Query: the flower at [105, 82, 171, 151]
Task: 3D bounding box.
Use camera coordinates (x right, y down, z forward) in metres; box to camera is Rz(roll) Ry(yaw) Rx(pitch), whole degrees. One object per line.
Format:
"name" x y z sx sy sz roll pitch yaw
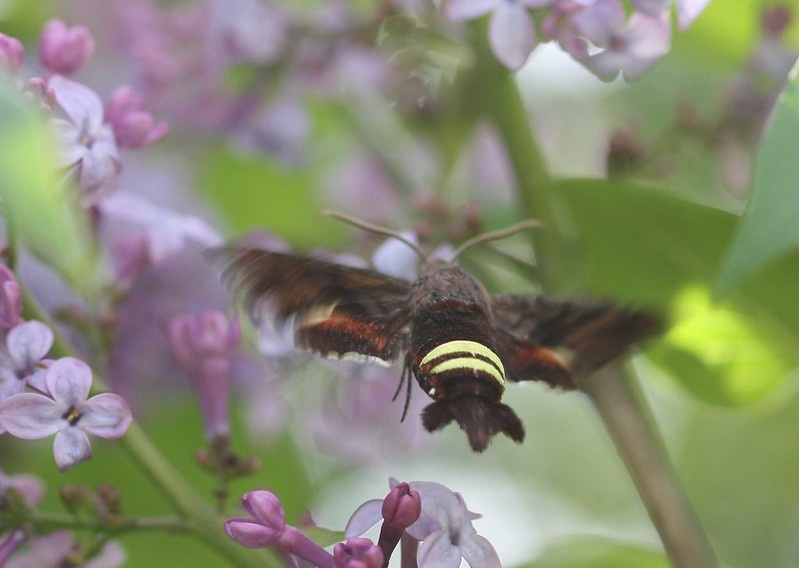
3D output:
"flower" -0.205 -0.132 0.800 0.045 0.048 0.029 20 9 -8

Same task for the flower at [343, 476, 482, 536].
"flower" 0.000 0.166 0.773 0.103 0.113 0.026 -5 87 -19

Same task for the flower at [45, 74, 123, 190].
"flower" -0.245 -0.119 0.789 0.044 0.064 0.071 -19 47 -13

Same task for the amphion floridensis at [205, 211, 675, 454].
"amphion floridensis" 0.024 0.030 0.759 0.277 0.109 0.193 13 12 -11

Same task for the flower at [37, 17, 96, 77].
"flower" -0.268 -0.190 0.810 0.043 0.034 0.045 5 77 5

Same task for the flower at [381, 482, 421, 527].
"flower" 0.004 0.155 0.732 0.024 0.024 0.033 19 9 11
